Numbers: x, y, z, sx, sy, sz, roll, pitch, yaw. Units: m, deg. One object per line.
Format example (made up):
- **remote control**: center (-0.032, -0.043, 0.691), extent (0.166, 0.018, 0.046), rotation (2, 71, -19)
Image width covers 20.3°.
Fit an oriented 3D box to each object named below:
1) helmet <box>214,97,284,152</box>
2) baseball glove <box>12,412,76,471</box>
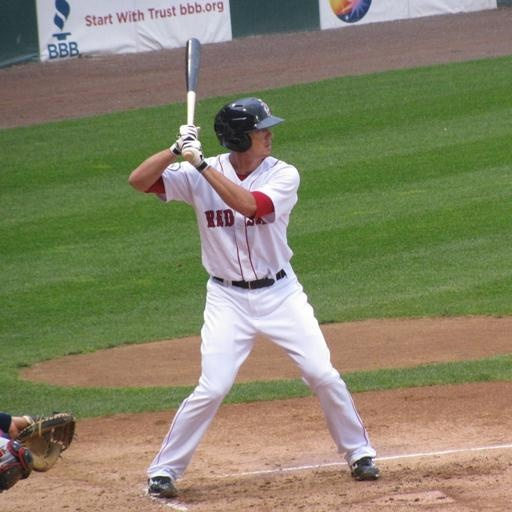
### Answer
- **helmet**: center (-0.086, -1.199, 13.293), extent (0.613, 0.476, 0.450), rotation (-1, 8, 13)
- **baseball glove**: center (-1.964, 1.752, 13.291), extent (0.529, 0.501, 0.188), rotation (-8, 9, -31)
